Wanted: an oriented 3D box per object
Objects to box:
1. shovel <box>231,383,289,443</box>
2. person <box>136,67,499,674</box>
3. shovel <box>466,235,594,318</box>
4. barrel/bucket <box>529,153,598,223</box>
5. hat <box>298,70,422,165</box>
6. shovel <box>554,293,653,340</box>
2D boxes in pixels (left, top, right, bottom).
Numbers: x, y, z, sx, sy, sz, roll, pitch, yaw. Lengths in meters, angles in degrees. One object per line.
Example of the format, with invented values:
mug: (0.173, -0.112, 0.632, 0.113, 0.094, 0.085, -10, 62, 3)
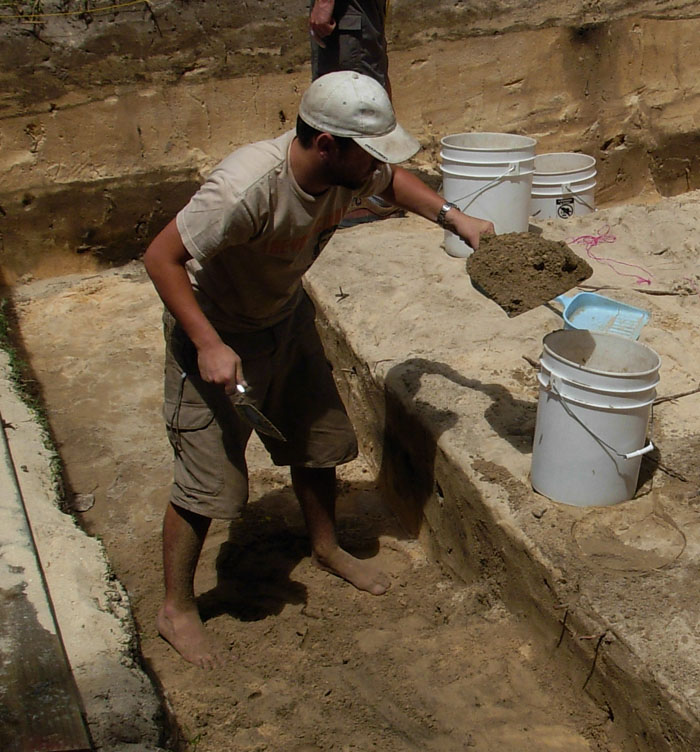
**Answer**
shovel: (-0.278, 0.133, 2.389, 0.081, 0.070, 0.267, -37, 23, 14)
person: (-0.193, -0.008, 2.559, 1.108, 1.750, 0.640, -9, 23, -5)
shovel: (0.606, -0.370, 2.772, 0.399, 0.068, 0.338, -12, 45, -23)
barrel/bucket: (1.282, -1.145, 5.043, 0.379, 0.368, 0.492, -1, 19, 11)
hat: (0.014, -0.651, 2.191, 0.371, 0.158, 0.206, 26, 46, 5)
shovel: (0.868, -0.205, 2.873, 0.316, 0.039, 0.148, 14, 49, 27)
